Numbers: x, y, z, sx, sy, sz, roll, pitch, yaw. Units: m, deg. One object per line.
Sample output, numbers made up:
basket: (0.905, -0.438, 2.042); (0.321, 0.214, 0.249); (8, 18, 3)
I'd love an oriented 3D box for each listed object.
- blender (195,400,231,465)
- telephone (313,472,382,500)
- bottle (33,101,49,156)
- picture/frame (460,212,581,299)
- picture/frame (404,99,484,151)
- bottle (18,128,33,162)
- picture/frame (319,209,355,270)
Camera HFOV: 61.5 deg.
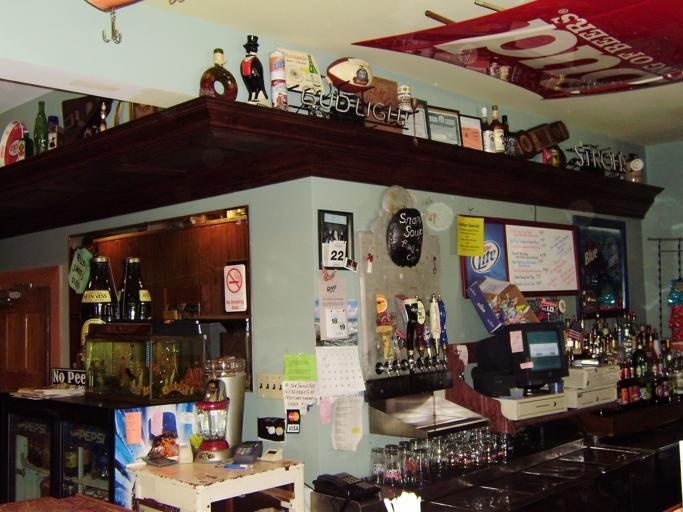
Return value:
blender: (-0.751, 1.014, 3.384); (0.196, 0.337, 0.226); (0, -10, -13)
telephone: (0.024, 1.344, 3.367); (0.209, 0.068, 0.174); (1, -5, 36)
bottle: (-2.407, -1.028, 4.615); (0.100, 0.524, 0.392); (3, -11, -28)
picture/frame: (1.601, 0.027, 5.123); (0.037, 0.588, 1.268); (-1, 1, -29)
picture/frame: (0.768, -1.005, 4.428); (0.677, 0.376, 0.031); (8, -40, -25)
bottle: (-2.483, -0.902, 4.559); (0.070, 0.254, 0.146); (7, -13, -44)
picture/frame: (-0.040, -0.105, 3.688); (0.031, 0.426, 0.373); (-8, -9, 43)
